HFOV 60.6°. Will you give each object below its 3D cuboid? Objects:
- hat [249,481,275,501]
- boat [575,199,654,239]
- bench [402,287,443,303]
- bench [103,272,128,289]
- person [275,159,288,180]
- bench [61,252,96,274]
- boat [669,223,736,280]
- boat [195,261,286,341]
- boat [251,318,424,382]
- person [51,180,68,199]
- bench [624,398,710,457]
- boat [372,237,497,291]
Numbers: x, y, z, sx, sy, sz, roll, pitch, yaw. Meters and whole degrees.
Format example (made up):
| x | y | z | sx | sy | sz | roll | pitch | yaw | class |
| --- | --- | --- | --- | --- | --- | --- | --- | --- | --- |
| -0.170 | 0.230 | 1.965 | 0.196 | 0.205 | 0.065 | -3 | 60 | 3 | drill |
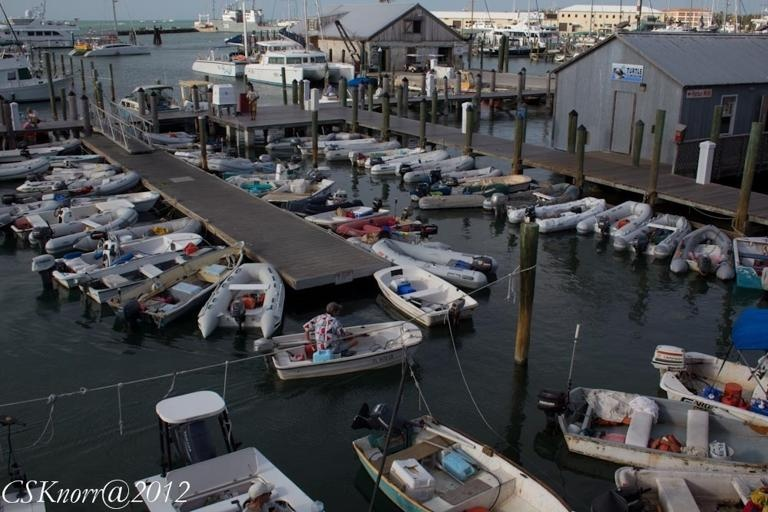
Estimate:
| x | y | z | sx | sy | sz | roll | pitch | yaw | class |
| --- | --- | --- | --- | --- | --- | --- | --- | --- | --- |
| -2.206 | 4.288 | 11.976 | 0.399 | 0.179 | 0.272 | -12 | 17 | -37 | hat |
| 8.668 | -1.364 | 24.078 | 2.483 | 0.654 | 1.391 | -19 | 22 | -32 | boat |
| 1.156 | 1.061 | 18.744 | 1.462 | 0.275 | 0.312 | -7 | 18 | -25 | bench |
| -7.774 | 0.708 | 19.191 | 0.482 | 0.105 | 0.493 | 22 | 24 | 29 | bench |
| -4.496 | -3.871 | 29.130 | 0.826 | 0.479 | 1.915 | -8 | 19 | -5 | person |
| -9.364 | 0.256 | 20.357 | 1.013 | 0.311 | 0.712 | -9 | 31 | -26 | bench |
| 10.428 | -0.067 | 21.293 | 1.575 | 0.680 | 2.340 | -3 | 27 | 32 | boat |
| -3.801 | 1.259 | 18.295 | 2.077 | 1.285 | 2.753 | -2 | 17 | 2 | boat |
| -0.900 | 2.336 | 16.464 | 4.724 | 1.071 | 1.441 | -5 | 39 | -6 | boat |
| -12.689 | -2.522 | 25.886 | 0.817 | 0.390 | 0.992 | -1 | 47 | -23 | person |
| 6.043 | 3.598 | 13.919 | 1.649 | 0.637 | 1.357 | 4 | 18 | 19 | bench |
| 1.488 | 0.610 | 20.734 | 3.311 | 0.885 | 1.757 | 17 | 24 | 23 | boat |
